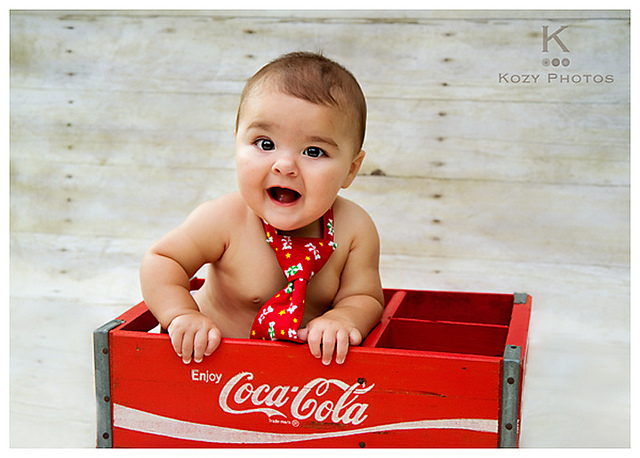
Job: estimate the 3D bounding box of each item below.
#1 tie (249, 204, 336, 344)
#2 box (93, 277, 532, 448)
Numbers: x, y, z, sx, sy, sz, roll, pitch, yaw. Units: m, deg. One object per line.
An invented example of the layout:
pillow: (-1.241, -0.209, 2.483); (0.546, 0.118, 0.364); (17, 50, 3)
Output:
tie: (-0.069, 0.113, 2.318); (0.203, 0.292, 0.081); (15, -29, 3)
box: (0.015, 0.356, 2.434); (1.014, 0.421, 0.586); (5, 2, 14)
